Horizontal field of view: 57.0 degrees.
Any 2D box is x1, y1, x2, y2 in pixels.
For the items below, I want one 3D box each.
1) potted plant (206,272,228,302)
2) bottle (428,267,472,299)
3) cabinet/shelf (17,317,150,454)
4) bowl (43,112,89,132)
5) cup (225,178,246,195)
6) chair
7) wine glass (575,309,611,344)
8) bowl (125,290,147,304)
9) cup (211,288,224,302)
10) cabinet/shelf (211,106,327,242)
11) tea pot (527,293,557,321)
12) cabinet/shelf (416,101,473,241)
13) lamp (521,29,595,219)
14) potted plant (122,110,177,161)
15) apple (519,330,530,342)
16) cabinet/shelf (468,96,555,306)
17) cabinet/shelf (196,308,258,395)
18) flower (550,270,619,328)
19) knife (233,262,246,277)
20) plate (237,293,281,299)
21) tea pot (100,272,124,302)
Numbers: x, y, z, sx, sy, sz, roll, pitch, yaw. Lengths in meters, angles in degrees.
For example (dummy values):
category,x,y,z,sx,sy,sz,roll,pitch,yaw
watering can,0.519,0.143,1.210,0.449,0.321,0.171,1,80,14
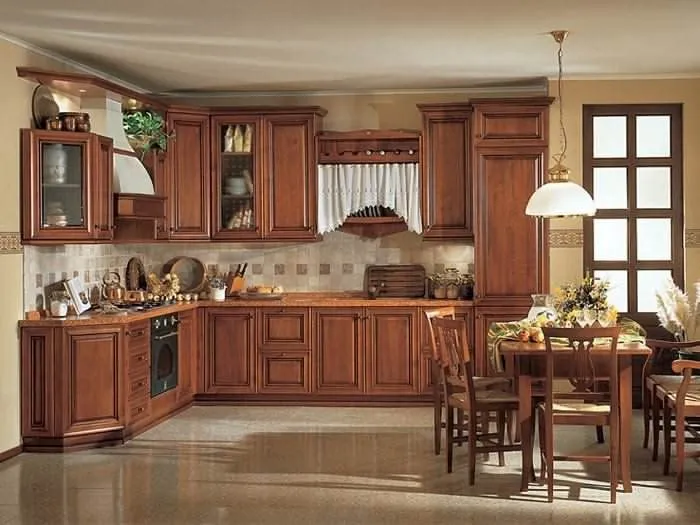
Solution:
category,x,y,z,sx,sy,sz,roll,pitch,yaw
potted plant,-1.502,0.304,7.317,0.199,0.267,0.314,1,-6,-7
bottle,1.117,0.236,7.258,0.526,0.324,0.371,0,4,7
cabinet/shelf,-2.408,0.993,6.195,1.048,1.303,1.416,-1,-2,7
bowl,-2.503,-1.250,5.718,0.291,0.106,0.210,-3,-1,24
cup,-1.291,-0.847,7.230,0.200,0.150,0.197,-1,1,0
chair,1.482,1.038,5.154,1.605,1.187,1.119,3,5,38
wine glass,1.928,0.508,5.164,0.249,0.388,0.258,0,-10,3
bowl,-2.262,0.365,6.794,0.212,0.126,0.132,-2,1,-7
cup,-1.491,0.357,7.203,0.141,0.099,0.139,0,-7,0
cabinet/shelf,-0.883,-1.016,7.177,1.586,1.717,0.532,-1,-4,6
tea pot,1.655,0.383,5.561,0.221,0.198,0.214,1,-7,0
cabinet/shelf,1.059,-0.971,6.975,0.708,1.414,0.239,6,13,38
lamp,1.698,-1.119,5.224,0.658,1.414,0.633,-7,15,-7
potted plant,-2.082,-1.328,6.633,0.221,0.478,0.517,-5,-4,24
apple,1.376,0.589,5.129,0.079,0.076,0.034,-3,-25,37
cabinet/shelf,1.696,-0.480,6.879,0.774,2.315,0.286,0,10,8
cabinet/shelf,-1.308,0.973,7.309,0.591,0.981,0.551,0,3,-2
flower,1.969,0.299,5.346,0.460,0.364,0.440,-2,2,-28
knife,-1.291,0.090,7.550,0.135,0.150,0.284,-1,4,-3
plate,-1.027,0.380,7.310,0.522,0.042,0.222,0,4,10
tea pot,-2.471,0.249,6.690,0.212,0.296,0.573,-2,4,-20
